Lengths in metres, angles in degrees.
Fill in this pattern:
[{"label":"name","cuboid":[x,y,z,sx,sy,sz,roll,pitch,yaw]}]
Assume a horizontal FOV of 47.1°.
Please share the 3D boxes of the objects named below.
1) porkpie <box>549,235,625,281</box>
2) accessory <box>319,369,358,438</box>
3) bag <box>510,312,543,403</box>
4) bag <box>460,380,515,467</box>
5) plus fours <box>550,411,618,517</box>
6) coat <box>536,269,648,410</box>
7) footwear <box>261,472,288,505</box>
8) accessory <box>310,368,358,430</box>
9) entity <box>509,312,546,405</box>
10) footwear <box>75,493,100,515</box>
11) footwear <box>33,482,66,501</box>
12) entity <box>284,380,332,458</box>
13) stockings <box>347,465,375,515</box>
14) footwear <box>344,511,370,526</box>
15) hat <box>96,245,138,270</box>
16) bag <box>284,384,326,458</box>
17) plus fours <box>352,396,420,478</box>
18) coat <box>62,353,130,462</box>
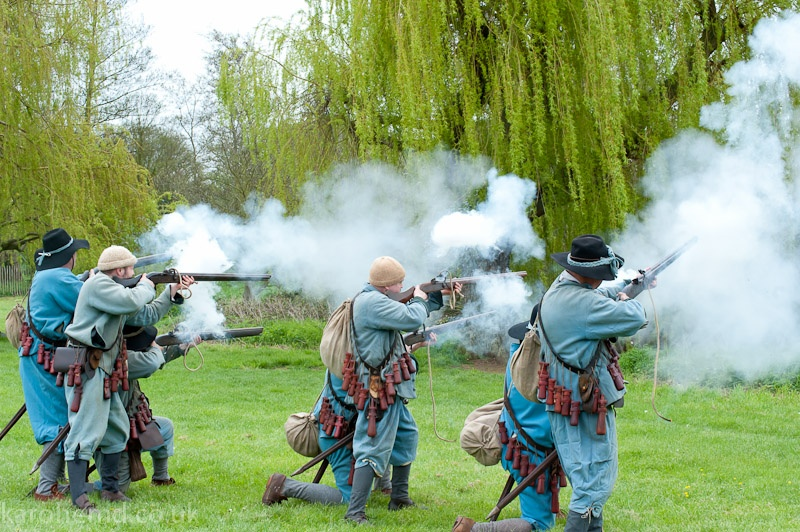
[{"label":"porkpie","cuboid":[2.912,-0.164,14.030,0.769,0.343,0.750,13,29,-8]},{"label":"accessory","cuboid":[-1.016,2.227,14.942,0.642,1.011,0.279,0,-6,3]},{"label":"bag","cuboid":[1.982,1.531,14.294,0.536,1.337,0.618,0,-4,44]},{"label":"bag","cuboid":[1.375,2.635,15.160,1.077,0.591,1.477,-5,9,20]},{"label":"plus fours","cuboid":[2.853,3.004,13.943,1.060,0.746,2.284,-11,33,14]},{"label":"coat","cuboid":[3.044,1.031,14.627,1.526,2.394,1.624,-11,25,-6]},{"label":"footwear","cuboid":[-1.986,3.555,14.866,0.239,0.551,0.303,22,0,11]},{"label":"accessory","cuboid":[-1.061,2.202,15.134,0.738,1.263,0.353,4,-6,-7]},{"label":"entity","cuboid":[2.027,1.335,14.153,0.676,1.538,0.681,-10,36,-8]},{"label":"footwear","cuboid":[-4.887,3.694,14.297,0.487,0.266,0.181,-1,0,23]},{"label":"footwear","cuboid":[-5.549,3.579,14.769,0.627,0.314,0.227,1,4,6]},{"label":"entity","cuboid":[-1.534,2.567,15.168,0.695,1.068,0.552,24,2,-45]},{"label":"stockings","cuboid":[-0.627,3.482,14.335,0.423,0.822,0.222,1,-2,-3]},{"label":"footwear","cuboid":[-0.654,3.891,14.207,0.220,0.122,0.178,1,-3,-24]},{"label":"hat","cuboid":[-4.594,-0.148,14.967,0.404,0.320,0.436,2,4,12]},{"label":"bag","cuboid":[-1.593,2.747,15.164,0.543,0.886,0.641,24,10,-9]},{"label":"plus fours","cuboid":[-0.184,2.559,14.740,0.590,1.393,1.420,-7,0,21]},{"label":"coat","cuboid":[-4.988,2.231,14.896,0.783,1.191,1.457,13,10,-24]}]
